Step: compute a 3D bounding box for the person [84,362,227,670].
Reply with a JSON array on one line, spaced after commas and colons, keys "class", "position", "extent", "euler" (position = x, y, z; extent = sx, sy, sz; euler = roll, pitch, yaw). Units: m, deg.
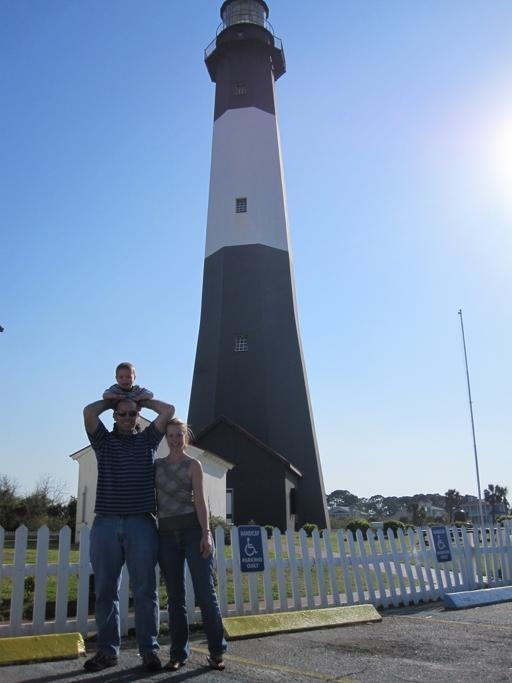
[{"class": "person", "position": [-0.875, 1.134, 3.378], "extent": [0.586, 2.029, 0.499], "euler": [-1, -16, -12]}]

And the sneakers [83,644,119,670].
[{"class": "sneakers", "position": [-0.986, 2.013, 3.111], "extent": [0.212, 0.108, 0.094], "euler": [18, -26, -36]}]
